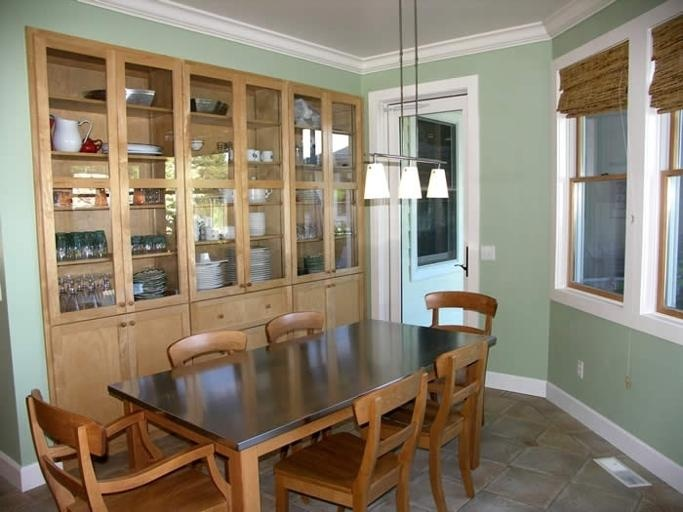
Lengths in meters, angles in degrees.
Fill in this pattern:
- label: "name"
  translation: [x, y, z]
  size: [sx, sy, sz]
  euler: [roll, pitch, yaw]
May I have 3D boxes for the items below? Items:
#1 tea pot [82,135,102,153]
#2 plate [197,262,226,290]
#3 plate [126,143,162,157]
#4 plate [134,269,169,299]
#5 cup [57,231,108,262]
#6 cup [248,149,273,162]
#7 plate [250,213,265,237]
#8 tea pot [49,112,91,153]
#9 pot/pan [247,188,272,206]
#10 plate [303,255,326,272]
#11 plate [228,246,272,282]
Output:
- label: "tea pot"
  translation: [-1.764, -0.781, 3.763]
  size: [0.130, 0.107, 0.079]
  euler: [-3, 6, -36]
- label: "plate"
  translation: [-1.073, 0.164, 4.371]
  size: [0.229, 0.141, 0.214]
  euler: [-1, 7, -1]
- label: "plate"
  translation: [-1.471, -0.798, 3.986]
  size: [0.048, 0.095, 0.261]
  euler: [6, 15, 35]
- label: "plate"
  translation: [-1.453, 0.212, 4.050]
  size: [0.224, 0.184, 0.217]
  euler: [-2, 1, -31]
- label: "cup"
  translation: [-1.811, -0.071, 3.742]
  size: [0.199, 0.212, 0.364]
  euler: [-3, -1, 42]
- label: "cup"
  translation: [-0.708, -0.888, 4.692]
  size: [0.181, 0.059, 0.101]
  euler: [-4, 8, -37]
- label: "plate"
  translation: [-0.697, -0.282, 4.692]
  size: [0.194, 0.184, 0.182]
  euler: [-1, 4, -6]
- label: "tea pot"
  translation: [-1.877, -0.830, 3.649]
  size: [0.161, 0.217, 0.259]
  euler: [5, 4, 44]
- label: "pot/pan"
  translation: [-0.719, -0.530, 4.699]
  size: [0.165, 0.098, 0.120]
  euler: [1, -2, -23]
- label: "plate"
  translation: [-0.260, 0.081, 5.132]
  size: [0.144, 0.153, 0.246]
  euler: [-1, 0, 37]
- label: "plate"
  translation: [-0.760, 0.077, 4.634]
  size: [0.291, 0.255, 0.272]
  euler: [0, 0, -4]
